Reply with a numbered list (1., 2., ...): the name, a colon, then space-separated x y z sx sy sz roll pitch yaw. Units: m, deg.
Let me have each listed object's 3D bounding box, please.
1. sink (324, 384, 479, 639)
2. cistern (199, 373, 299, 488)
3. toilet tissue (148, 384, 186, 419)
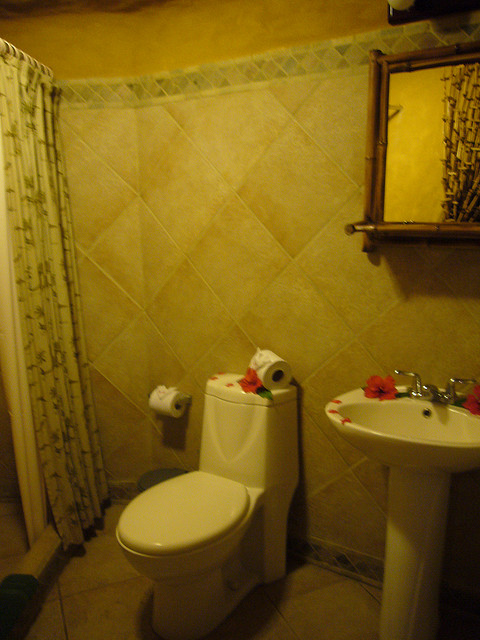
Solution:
1. sink: 0.440 0.563 1.502 0.405 0.678 0.429 2 11 12
2. cistern: 0.019 0.373 1.954 0.399 0.410 0.268 7 8 32
3. toilet tissue: -0.295 0.317 2.162 0.150 0.129 0.125 0 16 34
